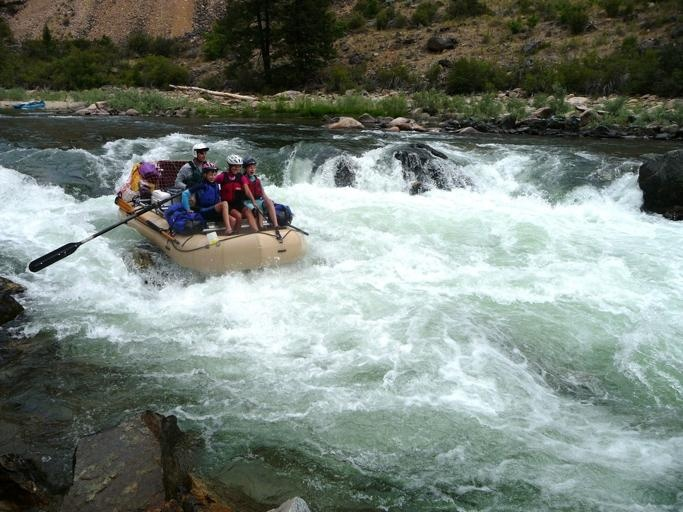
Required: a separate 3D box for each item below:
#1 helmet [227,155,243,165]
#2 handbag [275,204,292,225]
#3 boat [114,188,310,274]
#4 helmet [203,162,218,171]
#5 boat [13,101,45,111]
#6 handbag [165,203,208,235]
[{"bbox_3d":[-2.206,-1.920,11.157,0.420,0.160,0.272,2,16,37],"label":"helmet"},{"bbox_3d":[-1.205,-0.871,11.385,0.506,0.374,0.360,-5,29,-13],"label":"handbag"},{"bbox_3d":[-3.122,-0.717,12.487,3.032,0.799,4.686,-9,23,-34],"label":"boat"},{"bbox_3d":[-2.582,-1.760,10.930,0.296,0.149,0.225,-8,18,-31],"label":"helmet"},{"bbox_3d":[-14.411,-6.977,25.759,1.320,0.460,2.108,-6,16,-27],"label":"boat"},{"bbox_3d":[-3.101,-0.760,10.920,0.537,0.311,0.863,-18,41,-40],"label":"handbag"}]
